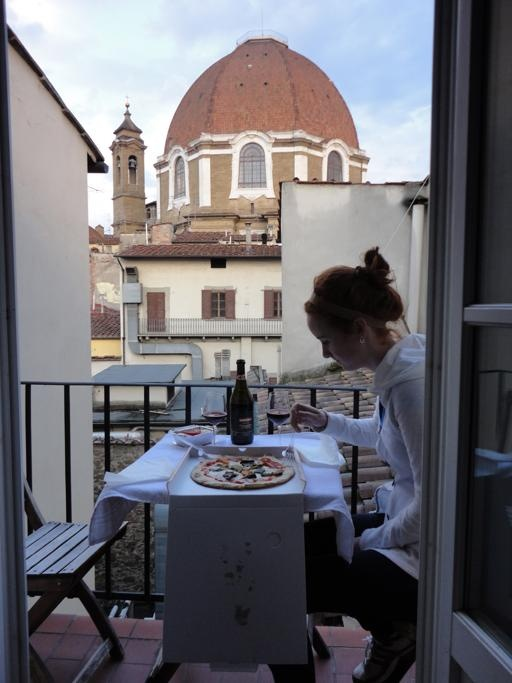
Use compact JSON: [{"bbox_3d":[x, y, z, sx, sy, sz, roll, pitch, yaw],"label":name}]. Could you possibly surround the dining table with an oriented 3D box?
[{"bbox_3d":[-0.069,0.493,1.908,0.624,0.319,0.598,-3,3,6],"label":"dining table"}]
